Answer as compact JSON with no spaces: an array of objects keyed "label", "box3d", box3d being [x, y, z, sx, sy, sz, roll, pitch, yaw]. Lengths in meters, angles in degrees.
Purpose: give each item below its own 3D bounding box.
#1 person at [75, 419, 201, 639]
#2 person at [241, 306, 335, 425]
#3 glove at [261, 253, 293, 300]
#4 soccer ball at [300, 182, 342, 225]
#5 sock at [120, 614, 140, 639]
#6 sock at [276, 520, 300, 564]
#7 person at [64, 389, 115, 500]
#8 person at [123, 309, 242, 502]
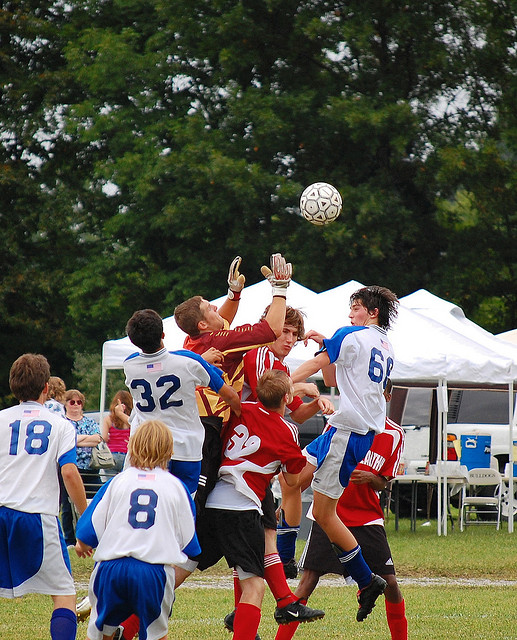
[{"label":"person","box3d":[-0.985,1.764,12.096,0.972,1.828,0.293,2,-3,-4]},{"label":"person","box3d":[0.180,0.437,13.407,1.002,1.087,0.730,2,-6,33]},{"label":"glove","box3d":[0.163,-0.347,13.396,0.300,0.448,0.213,1,-27,-13]},{"label":"soccer ball","box3d":[0.679,-1.375,18.117,0.364,0.406,0.360,13,38,-10]},{"label":"sock","box3d":[-1.084,2.627,12.437,0.081,0.251,0.187,15,-34,0]},{"label":"sock","box3d":[0.253,2.126,13.841,0.198,0.416,0.303,1,-4,1]},{"label":"person","box3d":[-2.175,1.757,18.355,0.556,1.711,0.465,-10,7,-13]},{"label":"person","box3d":[-0.655,0.965,13.195,1.110,2.367,0.899,1,23,10]}]
